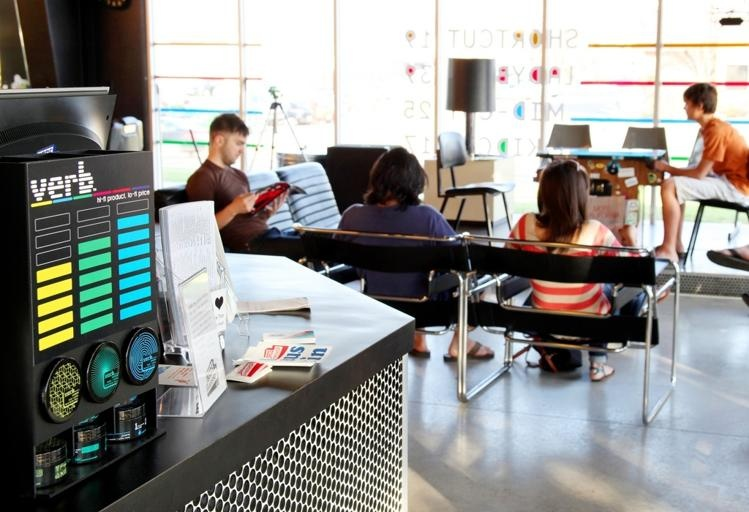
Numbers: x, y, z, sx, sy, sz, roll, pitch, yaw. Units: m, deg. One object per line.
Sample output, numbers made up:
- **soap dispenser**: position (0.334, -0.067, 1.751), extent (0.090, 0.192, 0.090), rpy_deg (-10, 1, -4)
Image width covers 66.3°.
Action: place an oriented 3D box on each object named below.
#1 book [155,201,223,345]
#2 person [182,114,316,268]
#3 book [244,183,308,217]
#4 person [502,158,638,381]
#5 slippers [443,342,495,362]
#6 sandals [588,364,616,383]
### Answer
- **book**: position (-0.388, 0.048, 1.235), extent (0.119, 0.326, 0.364), rpy_deg (-4, 14, -15)
- **person**: position (-0.716, -0.584, 4.674), extent (1.158, 1.214, 0.800), rpy_deg (3, 11, 7)
- **book**: position (-0.735, -0.453, 4.283), extent (0.408, 0.148, 0.187), rpy_deg (-27, 11, -13)
- **person**: position (1.073, 0.139, 3.145), extent (0.661, 1.317, 0.759), rpy_deg (8, 16, 32)
- **slippers**: position (0.619, 0.636, 3.797), extent (0.339, 0.113, 0.126), rpy_deg (-3, 8, -12)
- **sandals**: position (1.393, 0.688, 3.510), extent (0.069, 0.097, 0.223), rpy_deg (3, 10, 37)
